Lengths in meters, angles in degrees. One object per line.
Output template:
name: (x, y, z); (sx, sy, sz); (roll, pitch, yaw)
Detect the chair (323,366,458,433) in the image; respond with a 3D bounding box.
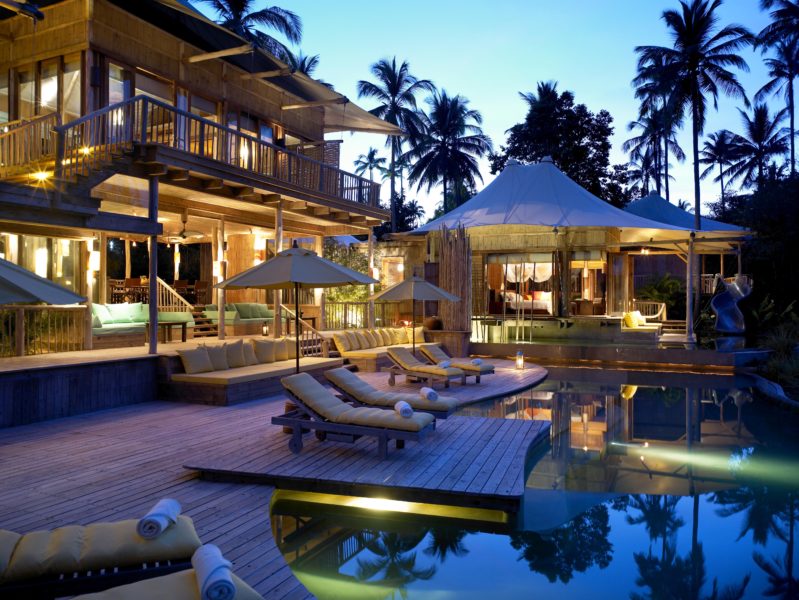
chair: (-0.133, 1.525, 11.520); (2.145, 0.825, 1.238); (2, -1, 10)

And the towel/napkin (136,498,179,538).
towel/napkin: (-2.438, 2.163, 6.949); (0.239, 0.192, 0.432); (18, 8, 4)

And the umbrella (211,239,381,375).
umbrella: (-2.063, 0.175, 12.548); (2.388, 1.937, 2.317); (-2, 3, -37)

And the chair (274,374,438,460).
chair: (-0.671, 1.700, 10.122); (1.885, 1.018, 1.164); (0, 0, 17)

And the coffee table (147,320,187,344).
coffee table: (-5.419, 0.698, 16.201); (0.661, 0.542, 0.694); (-4, -4, 35)

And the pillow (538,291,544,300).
pillow: (5.397, -0.179, 26.011); (0.215, 0.432, 0.226); (-3, -6, 34)

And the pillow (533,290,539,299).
pillow: (5.214, -0.193, 26.136); (0.236, 0.276, 0.246); (0, -5, -7)

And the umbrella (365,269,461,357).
umbrella: (0.296, 0.332, 17.343); (1.942, 1.792, 1.898); (-2, 6, -27)

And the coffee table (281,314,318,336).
coffee table: (-2.921, 0.704, 19.247); (0.836, 0.564, 0.888); (0, -3, 0)

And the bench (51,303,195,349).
bench: (-6.362, 0.540, 15.720); (1.708, 1.063, 4.397); (-2, -2, 20)

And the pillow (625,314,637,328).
pillow: (8.259, 0.692, 24.358); (0.356, 0.453, 0.742); (-3, -3, 40)

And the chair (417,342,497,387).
chair: (1.303, 1.470, 16.276); (1.584, 0.999, 0.913); (0, -2, 28)

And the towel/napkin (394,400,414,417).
towel/napkin: (0.055, 1.583, 9.995); (0.224, 0.149, 0.382); (3, 3, -8)

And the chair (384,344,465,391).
chair: (0.555, 1.479, 15.318); (1.516, 0.766, 0.834); (1, 1, 40)
